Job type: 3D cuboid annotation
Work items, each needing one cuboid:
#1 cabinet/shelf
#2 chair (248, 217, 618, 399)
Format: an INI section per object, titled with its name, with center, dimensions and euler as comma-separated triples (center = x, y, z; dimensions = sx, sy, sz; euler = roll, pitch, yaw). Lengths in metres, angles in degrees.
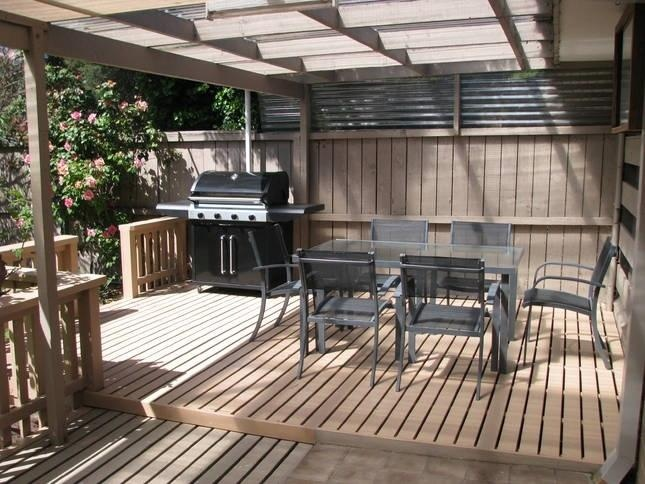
[cabinet/shelf]
center = -1.168, 0.130, 6.522
dimensions = 1.525, 1.291, 0.879
euler = 2, 4, 19
[chair]
center = 1.260, 0.464, 4.701
dimensions = 2.649, 1.114, 2.067
euler = 1, 12, 12
